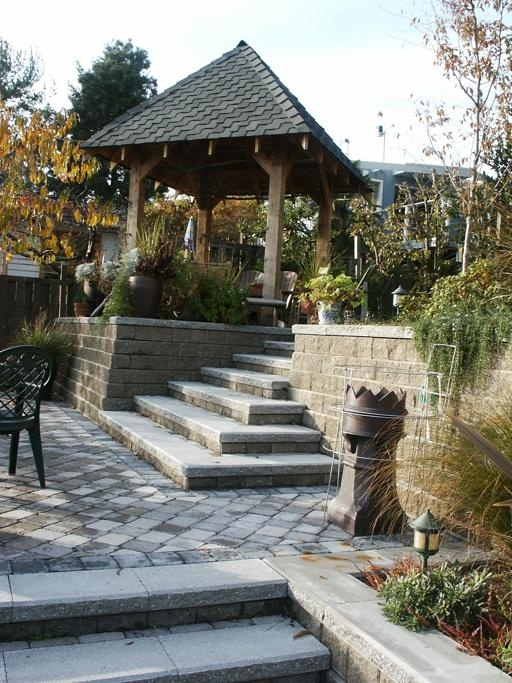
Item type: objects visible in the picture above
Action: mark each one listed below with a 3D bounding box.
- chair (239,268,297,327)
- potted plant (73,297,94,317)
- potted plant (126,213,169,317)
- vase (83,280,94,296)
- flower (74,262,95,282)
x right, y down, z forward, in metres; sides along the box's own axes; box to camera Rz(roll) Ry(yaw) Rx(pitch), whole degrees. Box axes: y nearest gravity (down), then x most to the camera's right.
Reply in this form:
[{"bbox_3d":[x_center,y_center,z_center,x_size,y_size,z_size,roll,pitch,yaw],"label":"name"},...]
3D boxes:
[{"bbox_3d":[0.125,-0.612,8.608,0.911,0.811,0.980,1,6,5],"label":"chair"},{"bbox_3d":[-2.655,-0.508,9.383,0.280,0.205,0.279,-2,1,-39],"label":"potted plant"},{"bbox_3d":[-1.296,-0.907,7.580,0.527,1.203,1.169,-1,5,-8],"label":"potted plant"},{"bbox_3d":[-2.439,-0.773,8.897,0.182,0.191,0.176,-3,-15,19],"label":"vase"},{"bbox_3d":[-2.489,-0.990,8.903,0.322,0.273,0.268,0,5,2],"label":"flower"}]
